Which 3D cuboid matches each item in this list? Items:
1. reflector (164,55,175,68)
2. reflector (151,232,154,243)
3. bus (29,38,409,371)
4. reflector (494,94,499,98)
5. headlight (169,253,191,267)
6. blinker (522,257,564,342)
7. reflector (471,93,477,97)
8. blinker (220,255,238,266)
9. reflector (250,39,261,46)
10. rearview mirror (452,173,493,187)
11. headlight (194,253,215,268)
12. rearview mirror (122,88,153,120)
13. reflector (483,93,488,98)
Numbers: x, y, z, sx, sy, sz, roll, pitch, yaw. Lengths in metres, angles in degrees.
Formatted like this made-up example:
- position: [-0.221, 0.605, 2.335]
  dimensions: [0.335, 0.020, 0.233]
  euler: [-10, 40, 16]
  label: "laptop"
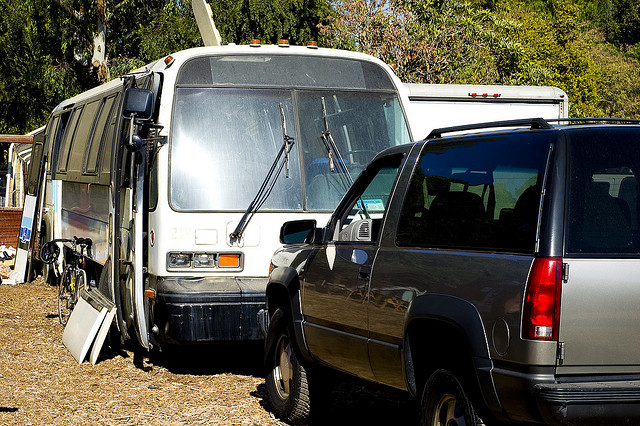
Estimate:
- position: [-1.944, -1.937, 7.461]
  dimensions: [0.108, 0.146, 0.048]
  euler: [47, 2, 38]
  label: "reflector"
- position: [-2.104, 0.290, 7.265]
  dimensions: [0.005, 0.092, 0.089]
  euler: [-1, 2, -39]
  label: "reflector"
- position: [-1.412, -0.017, 7.505]
  dimensions: [2.659, 2.477, 5.912]
  euler: [-1, 2, -16]
  label: "bus"
- position: [4.458, -2.963, 14.763]
  dimensions: [0.143, 0.082, 0.104]
  euler: [6, 8, 15]
  label: "reflector"
- position: [-1.735, 0.572, 7.162]
  dimensions: [0.254, 0.162, 0.046]
  euler: [0, 2, -16]
  label: "headlight"
- position: [1.352, 0.516, 3.525]
  dimensions: [0.222, 0.487, 0.102]
  euler: [1, 2, 17]
  label: "blinker"
- position: [3.863, -2.944, 14.610]
  dimensions: [0.162, 0.093, 0.042]
  euler: [-1, 2, -21]
  label: "reflector"
- position: [-1.148, 0.587, 7.270]
  dimensions: [0.149, 0.148, 0.039]
  euler: [8, -5, -10]
  label: "blinker"
- position: [-0.878, -2.282, 7.771]
  dimensions: [0.101, 0.072, 0.136]
  euler: [0, 3, -4]
  label: "reflector"
- position: [1.095, -0.242, 4.231]
  dimensions: [0.075, 0.098, 0.348]
  euler: [-1, 3, -35]
  label: "rearview mirror"
- position: [-1.439, 0.582, 7.213]
  dimensions: [0.279, 0.194, 0.153]
  euler: [0, -7, -13]
  label: "headlight"
- position: [-2.239, -1.319, 7.122]
  dimensions: [0.341, 0.355, 0.176]
  euler: [7, -12, -5]
  label: "rearview mirror"
- position: [4.189, -2.953, 14.706]
  dimensions: [0.078, 0.081, 0.053]
  euler: [0, -1, -10]
  label: "reflector"
